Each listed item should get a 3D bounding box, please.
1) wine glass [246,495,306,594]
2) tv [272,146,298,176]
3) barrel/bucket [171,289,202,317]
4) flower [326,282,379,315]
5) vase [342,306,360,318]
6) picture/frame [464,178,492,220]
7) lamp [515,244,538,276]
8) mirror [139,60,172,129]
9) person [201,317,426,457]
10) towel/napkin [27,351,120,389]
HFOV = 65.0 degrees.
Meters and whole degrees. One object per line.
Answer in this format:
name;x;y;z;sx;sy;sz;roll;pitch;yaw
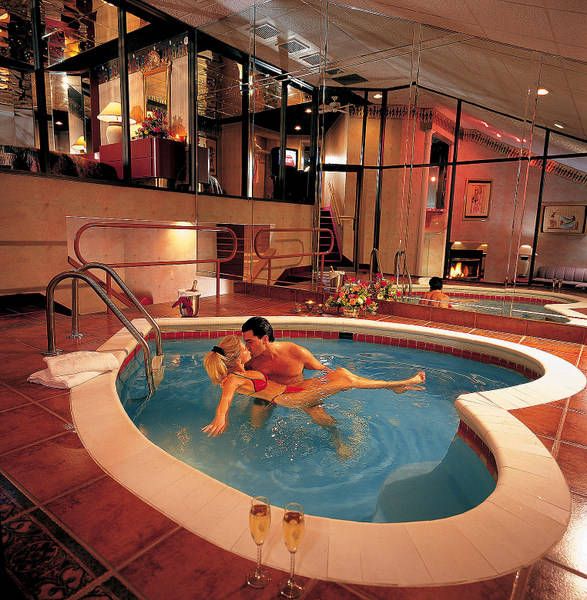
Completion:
wine glass;-0.056;0.731;1.466;0.173;0.302;0.303;1;11;-5
tv;-0.133;-2.136;6.994;0.475;0.390;0.110;6;13;28
barrel/bucket;-1.307;0.033;5.684;0.297;0.328;0.444;-1;11;-14
flower;0.741;-0.006;6.025;0.538;0.326;0.497;1;1;-7
vase;0.725;0.140;5.903;0.158;0.094;0.146;0;-1;1
picture/frame;1.884;-1.045;4.710;0.259;0.398;0.159;5;12;13
lamp;2.335;-0.401;4.625;0.057;0.343;0.173;-6;14;-35
mirror;-2.538;-3.836;8.546;0.264;0.974;0.961;-6;13;-34
person;0.095;0.630;3.556;1.384;0.665;0.946;10;16;-5
towel/napkin;-1.525;0.468;3.240;0.369;0.136;0.480;7;11;25
